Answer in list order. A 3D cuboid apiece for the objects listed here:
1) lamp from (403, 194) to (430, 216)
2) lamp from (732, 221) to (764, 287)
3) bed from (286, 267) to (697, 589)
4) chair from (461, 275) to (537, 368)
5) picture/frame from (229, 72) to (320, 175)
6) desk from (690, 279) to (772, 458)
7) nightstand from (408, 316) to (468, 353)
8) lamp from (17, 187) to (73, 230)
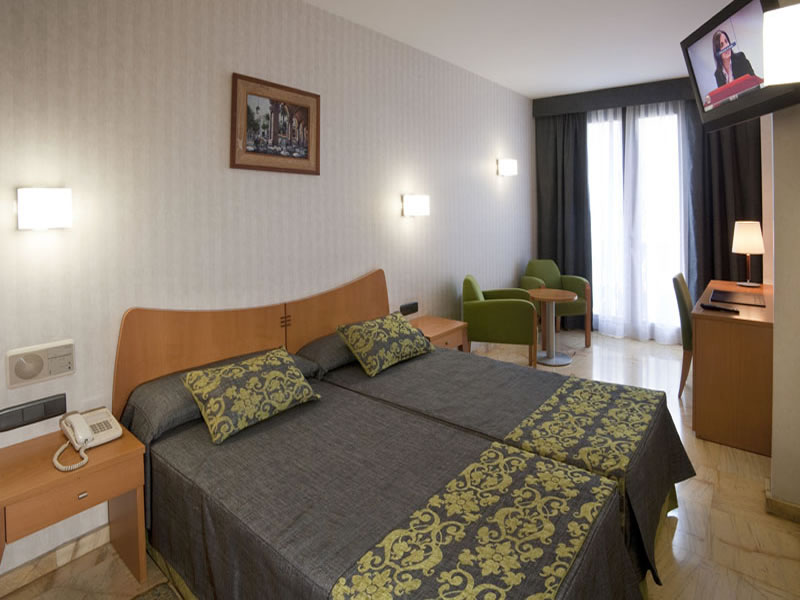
[{"bbox_3d":[0.147,-0.864,4.969,0.276,0.199,0.127,-11,11,-35],"label":"lamp"},{"bbox_3d":[3.362,-0.455,5.299,0.252,0.622,0.495,2,11,35],"label":"lamp"},{"bbox_3d":[0.673,0.760,4.037,2.354,1.435,1.478,8,16,37],"label":"bed"},{"bbox_3d":[1.070,0.198,5.743,0.759,0.990,0.659,1,5,24],"label":"chair"},{"bbox_3d":[-0.897,-1.236,3.831,0.056,0.688,0.744,4,5,41],"label":"picture/frame"},{"bbox_3d":[2.414,0.551,4.006,0.335,0.573,1.010,1,8,25],"label":"desk"},{"bbox_3d":[0.333,0.272,4.898,0.290,0.421,0.400,7,13,30],"label":"nightstand"},{"bbox_3d":[-1.918,-0.501,2.966,0.262,0.226,0.074,-10,10,-31],"label":"lamp"}]
